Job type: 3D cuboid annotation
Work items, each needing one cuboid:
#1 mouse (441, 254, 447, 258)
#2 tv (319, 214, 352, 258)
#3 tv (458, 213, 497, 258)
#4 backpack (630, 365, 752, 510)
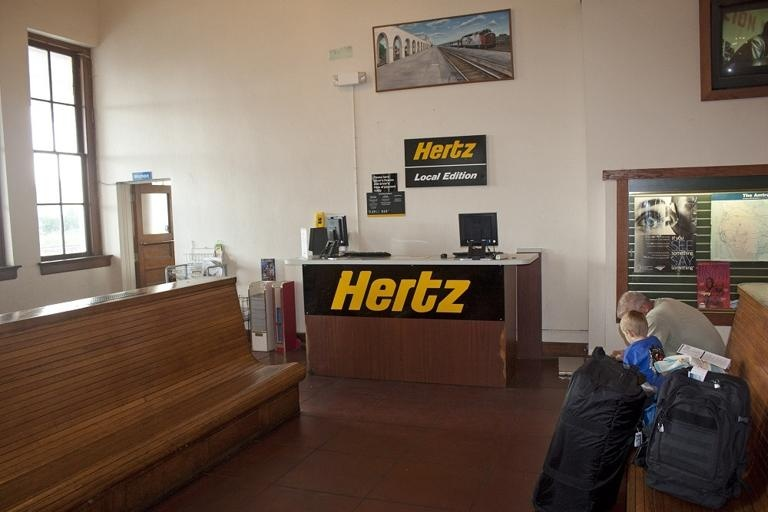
[{"bbox_3d":[0.769,-0.001,6.525,0.074,0.052,0.078,6,2,8],"label":"mouse"},{"bbox_3d":[-0.642,-0.261,6.729,0.289,0.501,0.313,-3,11,-10],"label":"tv"},{"bbox_3d":[1.141,-0.262,6.152,0.562,0.615,0.224,2,10,16],"label":"tv"},{"bbox_3d":[1.920,1.097,3.104,0.497,0.739,0.324,7,13,35],"label":"backpack"}]
